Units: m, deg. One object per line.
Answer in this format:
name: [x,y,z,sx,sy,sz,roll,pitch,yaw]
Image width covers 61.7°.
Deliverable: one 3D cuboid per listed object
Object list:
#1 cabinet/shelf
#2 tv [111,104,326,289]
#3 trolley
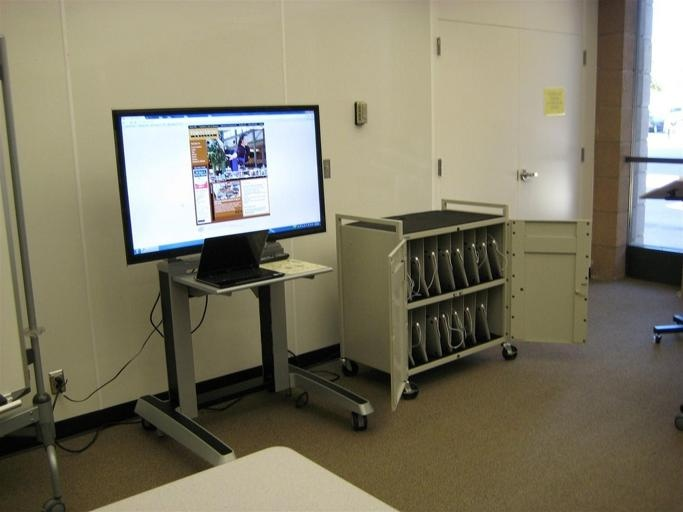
cabinet/shelf: [0.817,0.221,3.977,1.862,1.323,1.235,-11,15,-39]
tv: [-0.693,-0.349,3.140,0.903,0.728,0.238,-10,13,-33]
trolley: [0.818,0.213,3.980,1.850,1.318,1.245,-11,14,-39]
